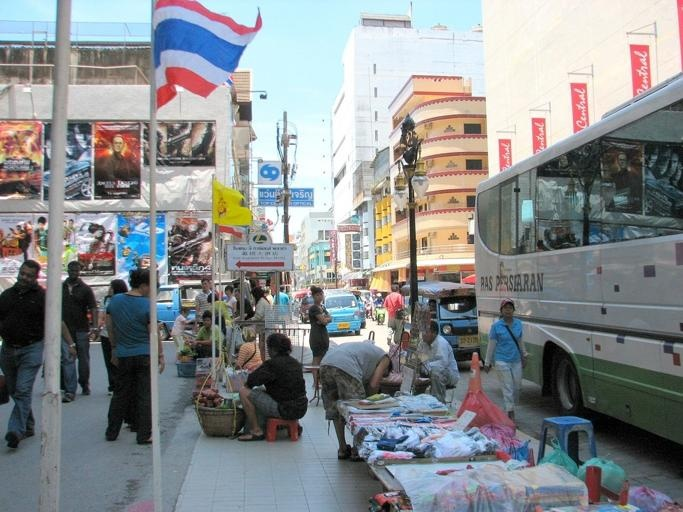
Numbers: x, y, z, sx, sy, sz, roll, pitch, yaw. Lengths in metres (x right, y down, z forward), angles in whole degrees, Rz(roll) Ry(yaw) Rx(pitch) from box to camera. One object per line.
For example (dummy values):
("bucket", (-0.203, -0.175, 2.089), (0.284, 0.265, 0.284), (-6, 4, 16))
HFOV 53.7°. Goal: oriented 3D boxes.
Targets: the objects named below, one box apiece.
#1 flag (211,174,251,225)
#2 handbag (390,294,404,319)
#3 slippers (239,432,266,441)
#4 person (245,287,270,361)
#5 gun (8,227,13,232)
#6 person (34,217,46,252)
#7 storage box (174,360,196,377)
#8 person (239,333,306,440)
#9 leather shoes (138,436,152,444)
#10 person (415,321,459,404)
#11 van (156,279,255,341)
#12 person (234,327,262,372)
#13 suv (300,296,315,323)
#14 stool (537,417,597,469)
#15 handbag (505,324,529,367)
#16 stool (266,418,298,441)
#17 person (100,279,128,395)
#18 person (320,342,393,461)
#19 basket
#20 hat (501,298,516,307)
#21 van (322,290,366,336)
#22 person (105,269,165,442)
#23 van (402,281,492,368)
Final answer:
("flag", (-2.344, -1.115, 14.450), (0.764, 0.924, 1.012), (0, 0, -6))
("handbag", (1.807, 1.644, 22.231), (0.731, 0.882, 0.489), (1, -7, 5))
("slippers", (-1.402, 2.817, 10.476), (0.329, 0.084, 0.158), (5, -10, -7))
("person", (-2.008, 1.634, 16.016), (0.517, 0.635, 1.795), (4, 44, -6))
("gun", (-14.176, -1.125, 28.901), (0.140, 0.143, 0.011), (0, 1, 0))
("person", (-12.958, -0.955, 28.948), (0.415, 1.519, 0.354), (0, 1, -35))
("storage box", (-3.800, 2.759, 16.429), (0.567, 0.369, 0.587), (1, 3, -1))
("person", (-1.056, 2.073, 10.720), (1.043, 1.656, 1.128), (2, -13, -6))
("leather shoes", (-2.893, 2.706, 9.904), (0.303, 0.128, 0.112), (-4, -4, 40))
("person", (1.672, 2.047, 12.398), (0.834, 1.575, 0.818), (-1, -8, -35))
("van", (-5.490, 2.265, 26.183), (3.808, 2.334, 2.334), (-1, -10, 2))
("person", (-1.829, 1.850, 13.118), (0.465, 0.919, 0.494), (-5, 5, -30))
("suv", (-1.778, 2.616, 32.421), (1.074, 1.072, 2.416), (0, 3, -3))
("stool", (2.720, 2.216, 7.929), (0.655, 0.523, 0.663), (-11, -8, 32))
("handbag", (3.088, 1.599, 11.980), (0.471, 0.664, 0.160), (-5, 2, -17))
("stool", (-0.950, 2.676, 10.498), (0.386, 0.291, 0.398), (2, -9, -14))
("person", (-4.121, 1.645, 12.608), (0.609, 2.370, 0.690), (1, 0, -25))
("person", (0.184, 2.067, 9.729), (0.920, 1.611, 0.588), (0, 1, -22))
("basket", (-1.940, 2.373, 10.911), (0.854, 0.994, 0.941), (3, -5, -41))
("hat", (3.073, 0.862, 12.434), (0.258, 0.198, 0.433), (0, 5, 2))
("van", (0.122, 2.539, 29.994), (1.302, 1.192, 2.313), (-1, 4, -2))
("person", (-3.146, 1.502, 10.199), (0.775, 2.641, 0.601), (4, 8, 3))
("van", (2.578, 1.985, 18.737), (1.890, 1.964, 3.059), (2, -8, -28))
